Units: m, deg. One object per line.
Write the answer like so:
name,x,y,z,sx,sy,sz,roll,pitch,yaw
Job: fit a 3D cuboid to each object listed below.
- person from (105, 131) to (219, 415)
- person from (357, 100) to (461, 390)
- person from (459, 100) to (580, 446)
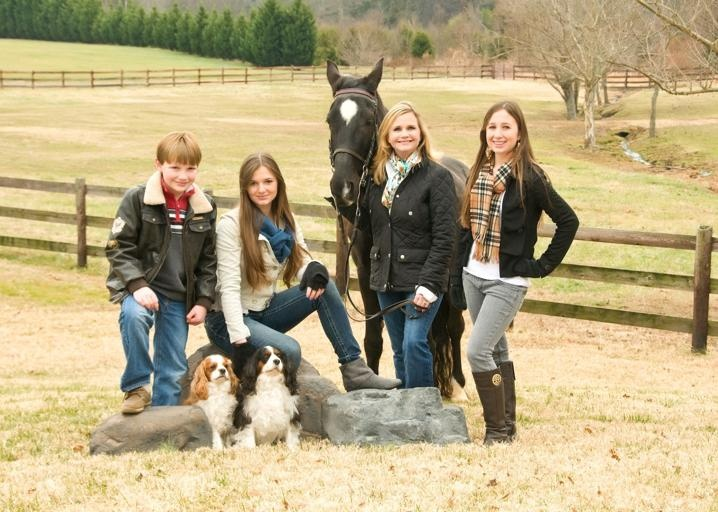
person,-2.336,0.181,10.928,1.284,3.281,0.748,-2,10,-22
person,0.613,-0.082,11.302,1.129,3.594,0.632,8,11,32
person,1.789,0.194,10.867,1.184,4.026,0.783,3,10,6
